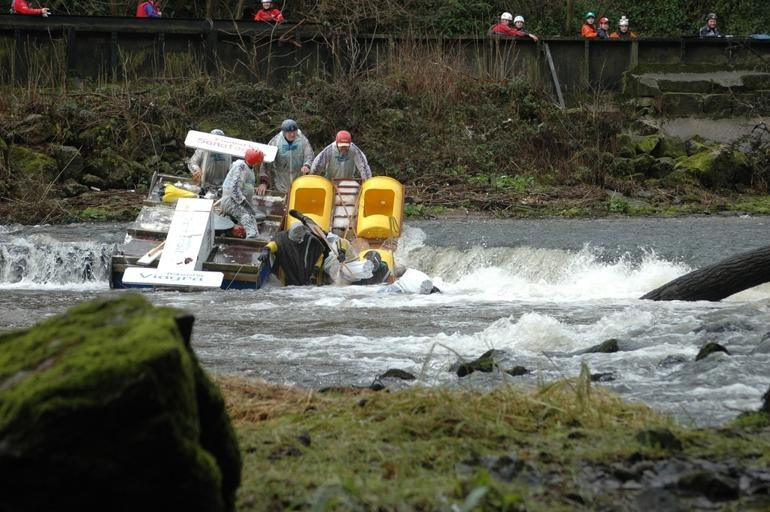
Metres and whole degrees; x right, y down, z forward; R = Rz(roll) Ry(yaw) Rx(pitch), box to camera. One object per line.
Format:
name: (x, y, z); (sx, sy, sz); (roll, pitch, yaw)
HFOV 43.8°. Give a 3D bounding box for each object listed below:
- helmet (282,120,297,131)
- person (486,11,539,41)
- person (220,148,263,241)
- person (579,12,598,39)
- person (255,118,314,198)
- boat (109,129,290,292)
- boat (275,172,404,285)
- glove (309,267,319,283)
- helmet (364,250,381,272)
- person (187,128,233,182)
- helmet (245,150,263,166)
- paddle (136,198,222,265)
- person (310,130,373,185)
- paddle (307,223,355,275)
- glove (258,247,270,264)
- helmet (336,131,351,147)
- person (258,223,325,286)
helmet: (-2.028, -2.764, 20.710); (0.288, 0.313, 0.384); (-8, 18, -16)
person: (3.868, -6.791, 28.602); (1.361, 0.784, 0.711); (4, 6, 3)
person: (-2.829, -1.164, 19.066); (0.590, 0.715, 1.651); (-17, -16, -19)
person: (6.265, -6.929, 29.005); (0.467, 0.893, 0.843); (5, 6, 11)
person: (-2.172, -1.928, 21.183); (1.141, 2.496, 1.234); (-11, 49, -12)
boat: (-3.716, -0.517, 19.243); (2.165, 1.880, 4.098); (8, 32, 2)
boat: (-0.745, -0.466, 18.997); (1.598, 0.937, 2.850); (2, 34, 1)
glove: (-1.343, 0.376, 18.351); (0.108, 0.316, 0.120); (10, -4, -26)
helmet: (-0.189, 0.107, 18.222); (0.279, 0.365, 0.372); (10, 4, -2)
person: (-3.582, -1.986, 20.347); (0.943, 1.307, 0.785); (-4, 44, -18)
helmet: (-2.568, -1.908, 19.115); (0.347, 0.272, 0.321); (-15, -18, -11)
paddle: (-3.731, -0.226, 18.041); (0.872, 0.710, 1.558); (7, 48, 10)
person: (-0.906, -1.846, 20.592); (1.033, 1.383, 0.689); (0, -23, 0)
paddle: (-0.957, -0.053, 18.160); (0.225, 0.467, 1.555); (37, 12, -41)
glove: (-2.244, -0.001, 18.058); (0.157, 0.297, 0.476); (5, 6, 15)
helmet: (-0.869, -2.459, 20.388); (0.272, 0.218, 0.414); (3, 19, -10)
person: (-1.743, 0.033, 18.298); (0.937, 1.623, 0.619); (2, 33, 1)
